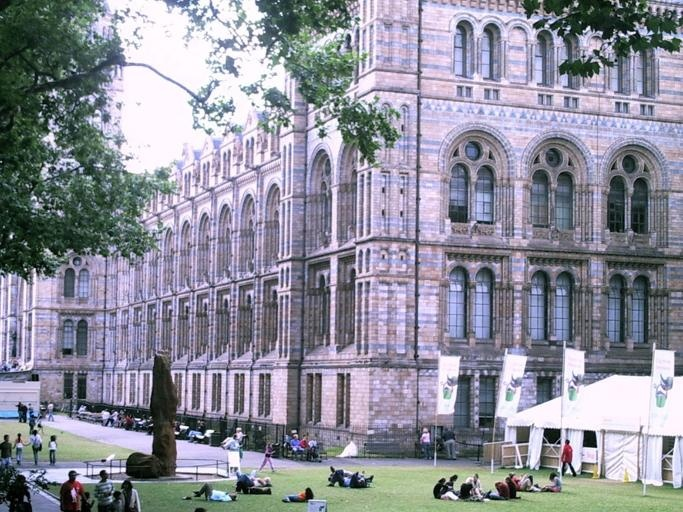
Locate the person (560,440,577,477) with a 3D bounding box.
[{"bbox_3d":[11.999,10.856,86.690,0.766,1.940,1.194,-1,-11,9],"label":"person"}]
